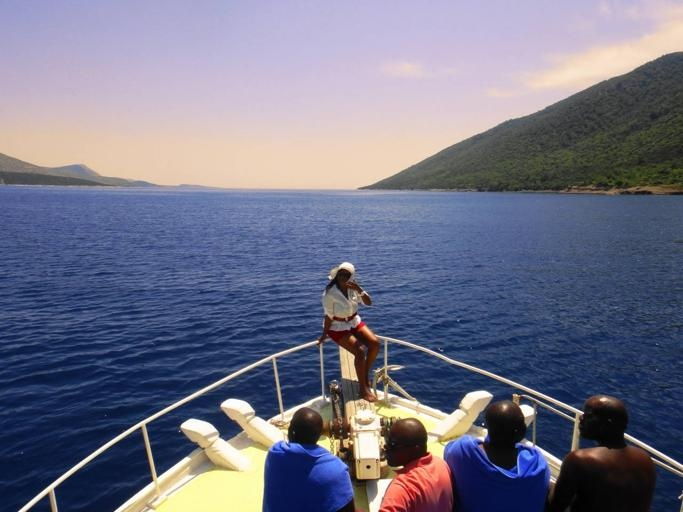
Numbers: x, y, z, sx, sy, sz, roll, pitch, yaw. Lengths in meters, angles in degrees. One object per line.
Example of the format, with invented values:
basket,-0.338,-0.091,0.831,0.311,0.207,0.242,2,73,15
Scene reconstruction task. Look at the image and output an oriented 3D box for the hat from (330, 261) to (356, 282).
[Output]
hat,-0.027,0.310,11.654,0.715,0.396,0.398,-3,25,0
